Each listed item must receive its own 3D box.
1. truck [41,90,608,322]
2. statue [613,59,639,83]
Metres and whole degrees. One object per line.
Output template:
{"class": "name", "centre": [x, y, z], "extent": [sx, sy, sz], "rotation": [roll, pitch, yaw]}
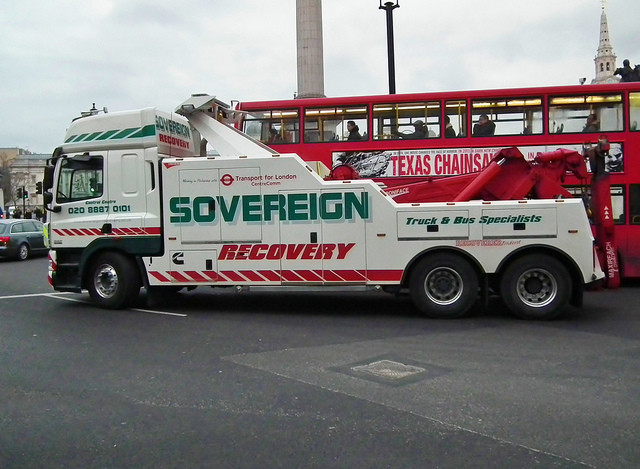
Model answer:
{"class": "truck", "centre": [-0.430, -0.205, 14.237], "extent": [11.989, 5.834, 4.848], "rotation": [0, -1, 10]}
{"class": "statue", "centre": [34.917, -18.161, 68.310], "extent": [1.868, 2.571, 10.946], "rotation": [2, 7, 27]}
